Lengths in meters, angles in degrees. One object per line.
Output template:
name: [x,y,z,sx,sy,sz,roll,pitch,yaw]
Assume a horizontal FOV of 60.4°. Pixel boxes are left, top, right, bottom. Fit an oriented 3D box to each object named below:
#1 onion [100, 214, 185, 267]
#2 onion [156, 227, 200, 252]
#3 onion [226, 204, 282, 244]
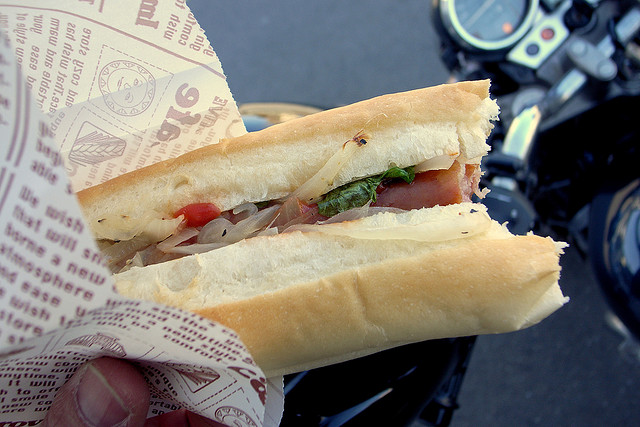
onion: [-0.881,0.132,2.716,0.297,0.088,0.091,-32,56,-18]
onion: [-0.705,0.120,2.797,0.247,0.084,0.062,-29,1,-11]
onion: [-0.329,0.057,2.748,0.238,0.065,0.064,-31,-19,-20]
